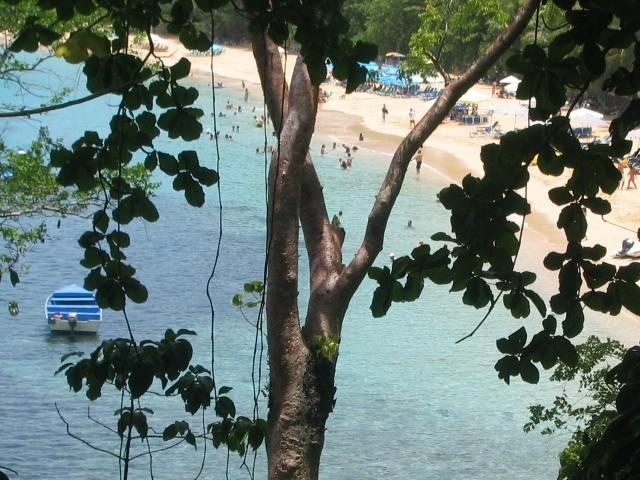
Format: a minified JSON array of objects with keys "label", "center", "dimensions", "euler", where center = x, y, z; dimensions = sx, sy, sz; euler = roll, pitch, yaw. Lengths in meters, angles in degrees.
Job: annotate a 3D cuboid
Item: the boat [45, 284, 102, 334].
[{"label":"boat","center":[-6.338,1.830,27.572],"dimensions":[1.573,1.083,1.225],"euler":[7,4,28]}]
